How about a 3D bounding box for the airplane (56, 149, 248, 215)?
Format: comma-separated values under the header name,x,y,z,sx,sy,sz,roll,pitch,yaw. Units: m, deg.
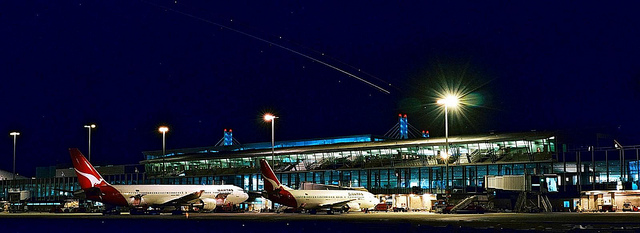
name,x,y,z,sx,sy,sz,roll,pitch,yaw
airplane,-43.029,16.419,143.739,38.949,16.979,4.615,0,-15,-17
